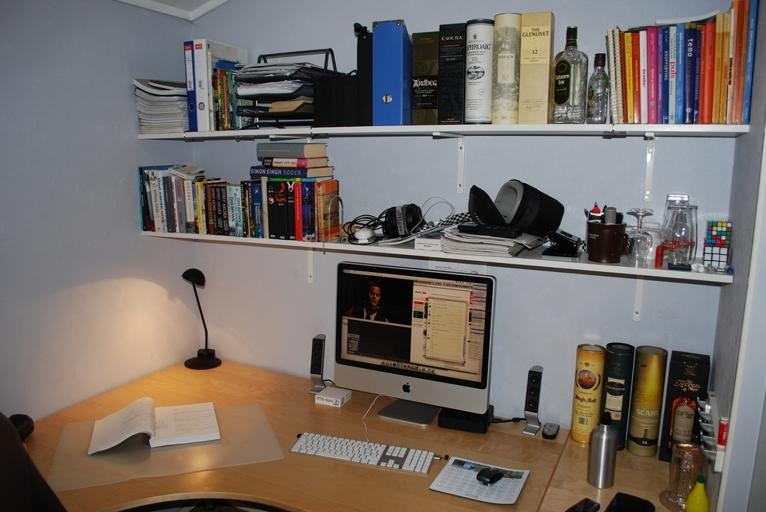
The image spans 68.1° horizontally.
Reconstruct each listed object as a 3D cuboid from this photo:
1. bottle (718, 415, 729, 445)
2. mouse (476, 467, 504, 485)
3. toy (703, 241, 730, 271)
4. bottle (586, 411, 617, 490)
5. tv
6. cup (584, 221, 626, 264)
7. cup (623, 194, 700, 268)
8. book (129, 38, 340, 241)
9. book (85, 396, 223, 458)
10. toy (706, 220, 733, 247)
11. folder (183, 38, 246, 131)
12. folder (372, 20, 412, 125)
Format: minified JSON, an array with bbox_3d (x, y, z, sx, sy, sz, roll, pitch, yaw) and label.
[{"bbox_3d":[1.164,0.603,1.934,0.029,0.093,0.018,5,12,26],"label":"bottle"},{"bbox_3d":[0.408,0.861,2.212,0.048,0.030,0.090,3,3,40],"label":"mouse"},{"bbox_3d":[1.263,0.006,2.142,0.098,0.096,0.099,0,-2,25],"label":"toy"},{"bbox_3d":[0.853,0.782,2.197,0.093,0.237,0.075,4,11,19],"label":"bottle"},{"bbox_3d":[0.156,0.397,2.542,0.702,0.606,0.185,4,6,22],"label":"tv"},{"bbox_3d":[0.863,-0.044,2.199,0.163,0.142,0.130,5,6,33],"label":"cup"},{"bbox_3d":[1.133,-0.101,2.256,0.326,0.355,0.242,2,4,23],"label":"cup"},{"bbox_3d":[-0.713,-0.563,2.737,0.989,0.835,0.354,3,8,20],"label":"book"},{"bbox_3d":[-0.992,0.750,2.489,0.352,0.084,0.264,-2,11,-16],"label":"book"},{"bbox_3d":[1.261,-0.085,2.152,0.093,0.091,0.089,11,21,18],"label":"toy"},{"bbox_3d":[-0.816,-0.804,2.718,0.148,0.452,0.450,2,8,17],"label":"folder"},{"bbox_3d":[0.033,-0.779,2.410,0.147,0.398,0.418,1,6,7],"label":"folder"}]
